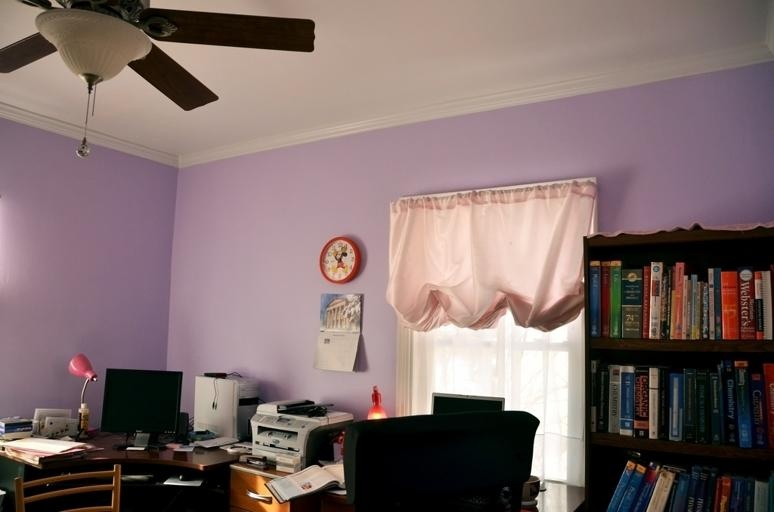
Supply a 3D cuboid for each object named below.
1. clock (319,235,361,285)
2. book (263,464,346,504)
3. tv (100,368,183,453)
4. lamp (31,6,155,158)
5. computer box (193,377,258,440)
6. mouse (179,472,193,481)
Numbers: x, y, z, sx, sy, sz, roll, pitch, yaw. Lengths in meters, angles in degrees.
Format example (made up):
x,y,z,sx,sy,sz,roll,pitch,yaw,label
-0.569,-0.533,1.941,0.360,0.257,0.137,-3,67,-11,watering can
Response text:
x,y,z,sx,sy,sz,roll,pitch,yaw,label
-0.342,0.034,4.268,0.353,0.354,0.059,-4,-12,34,clock
-0.462,1.336,3.362,0.535,0.146,0.280,7,-11,-37,book
-1.737,1.090,4.012,0.504,0.479,0.181,0,-17,2,tv
-1.291,-0.922,2.496,0.426,0.302,0.252,-1,-8,9,lamp
-1.240,1.162,4.388,0.490,0.463,0.284,2,-3,27,computer box
-1.325,1.444,3.745,0.051,0.019,0.052,6,-8,25,mouse
